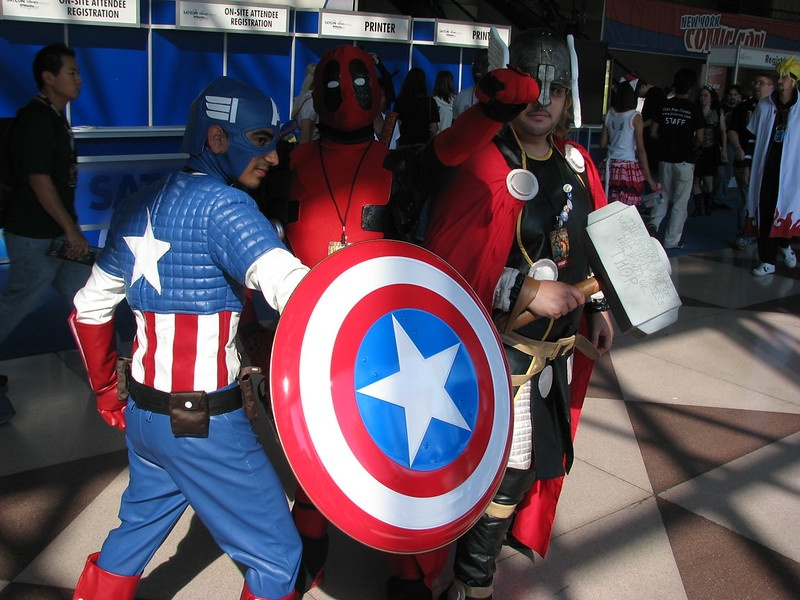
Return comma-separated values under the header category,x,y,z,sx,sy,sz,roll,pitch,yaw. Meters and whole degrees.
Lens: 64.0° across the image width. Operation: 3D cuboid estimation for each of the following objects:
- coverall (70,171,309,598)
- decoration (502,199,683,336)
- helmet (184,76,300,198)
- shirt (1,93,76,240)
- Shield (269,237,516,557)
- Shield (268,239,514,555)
category,x,y,z,sx,sy,sz,roll,pitch,yaw
coverall,-0.706,0.285,2.072,0.907,1.309,0.473,8,20,21
decoration,0.819,-0.105,2.262,0.334,0.434,0.245,7,20,18
helmet,-0.503,-0.535,2.076,0.315,0.395,0.271,-4,21,-11
shirt,-2.163,-0.766,3.813,0.377,0.804,0.658,-1,16,-17
Shield,-0.023,0.272,1.748,0.718,0.875,0.183,11,-20,-33
Shield,-0.112,0.371,1.915,0.746,0.846,0.185,-32,6,-34
